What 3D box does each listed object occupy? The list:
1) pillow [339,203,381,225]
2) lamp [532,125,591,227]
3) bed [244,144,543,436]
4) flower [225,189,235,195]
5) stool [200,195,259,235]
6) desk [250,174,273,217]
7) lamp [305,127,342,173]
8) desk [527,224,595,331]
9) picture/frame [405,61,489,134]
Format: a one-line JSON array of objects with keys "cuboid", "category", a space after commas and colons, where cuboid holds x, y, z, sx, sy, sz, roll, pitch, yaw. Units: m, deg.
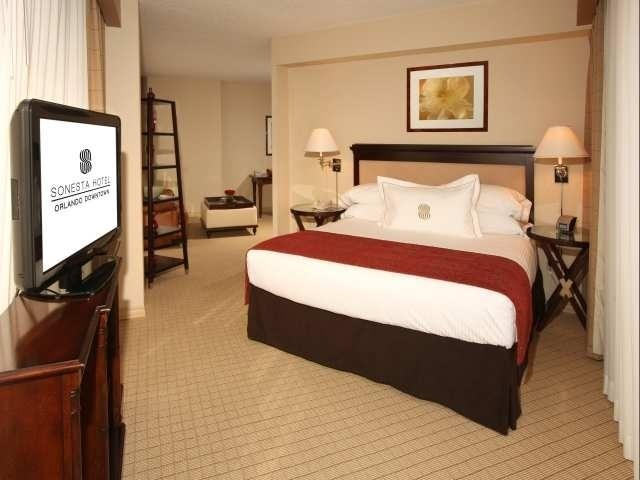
[{"cuboid": [0.458, -0.285, 4.708, 0.251, 0.074, 0.251, 3, 26, 18], "category": "pillow"}, {"cuboid": [2.151, -0.560, 4.039, 0.403, 0.891, 0.412, -7, 14, 5], "category": "lamp"}, {"cuboid": [0.907, 0.164, 3.632, 1.600, 1.301, 1.637, 5, 10, 34], "category": "bed"}, {"cuboid": [-1.646, -0.864, 8.291, 0.146, 0.109, 0.219, -5, 16, -18], "category": "flower"}, {"cuboid": [-1.564, -0.463, 7.772, 0.704, 0.479, 0.783, -4, 16, -18], "category": "stool"}, {"cuboid": [-1.301, -0.999, 9.843, 0.765, 1.054, 0.793, 0, 7, -10], "category": "desk"}, {"cuboid": [0.032, -1.071, 5.454, 0.421, 0.533, 0.473, -1, 0, 11], "category": "lamp"}, {"cuboid": [1.950, 0.253, 4.137, 0.757, 0.912, 0.732, 2, 15, 20], "category": "desk"}, {"cuboid": [1.392, -1.542, 4.816, 0.804, 0.647, 0.032, 1, 3, 31], "category": "picture/frame"}]
